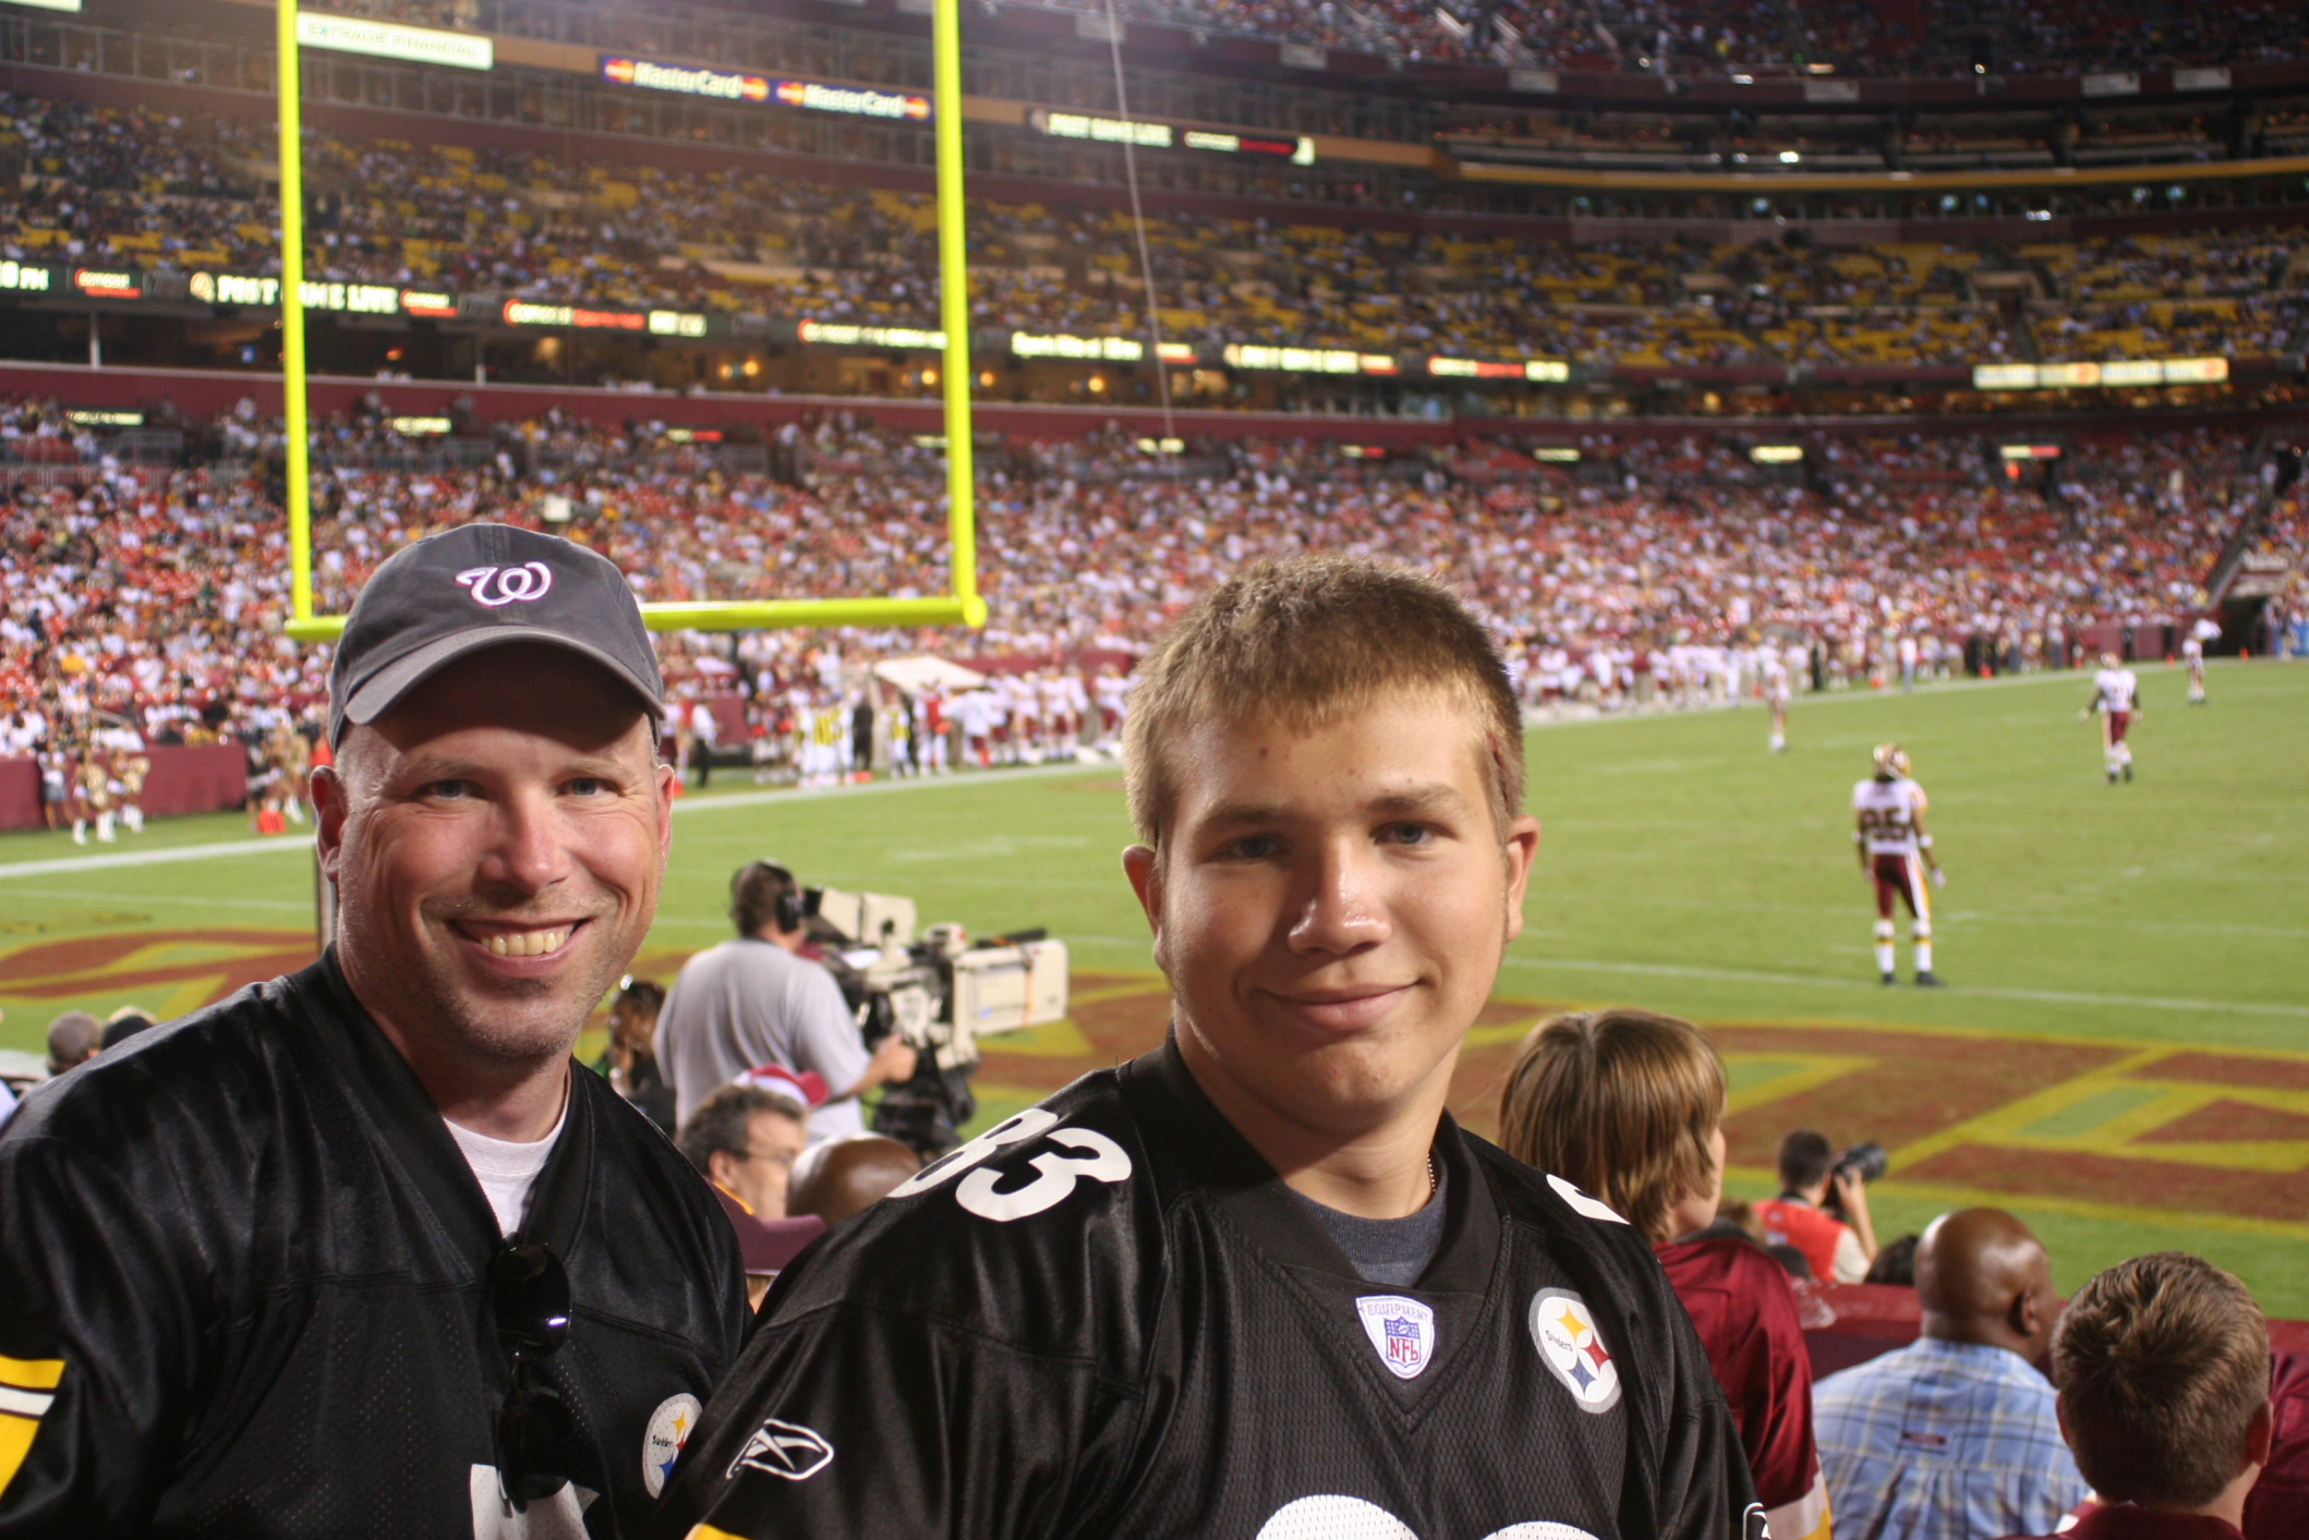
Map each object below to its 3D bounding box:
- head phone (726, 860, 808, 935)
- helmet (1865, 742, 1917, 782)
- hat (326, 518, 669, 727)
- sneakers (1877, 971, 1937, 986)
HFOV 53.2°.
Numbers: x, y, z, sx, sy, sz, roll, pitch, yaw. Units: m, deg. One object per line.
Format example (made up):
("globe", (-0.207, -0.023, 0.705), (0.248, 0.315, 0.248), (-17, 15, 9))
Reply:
("head phone", (-1.496, 0.489, 8.744), (0.219, 0.282, 0.289), (1, -6, -13))
("helmet", (3.987, -0.035, 12.538), (0.148, 0.181, 0.200), (10, -21, -16))
("hat", (-1.382, -0.310, 5.051), (0.632, 0.443, 1.002), (2, -9, -20))
("sneakers", (3.966, 1.104, 12.194), (0.264, 0.111, 0.091), (-2, -2, 22))
